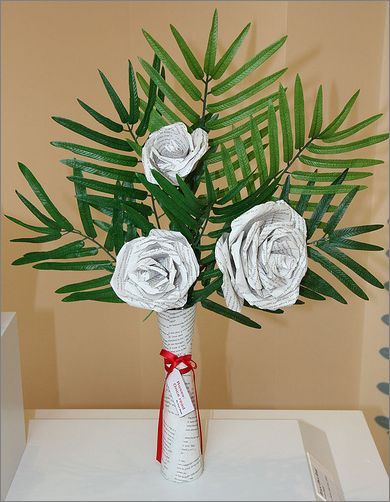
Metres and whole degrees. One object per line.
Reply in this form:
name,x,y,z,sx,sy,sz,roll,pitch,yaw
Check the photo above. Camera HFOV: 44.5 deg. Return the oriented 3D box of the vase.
vase,-0.028,0.277,0.879,0.082,0.371,0.056,1,16,0
